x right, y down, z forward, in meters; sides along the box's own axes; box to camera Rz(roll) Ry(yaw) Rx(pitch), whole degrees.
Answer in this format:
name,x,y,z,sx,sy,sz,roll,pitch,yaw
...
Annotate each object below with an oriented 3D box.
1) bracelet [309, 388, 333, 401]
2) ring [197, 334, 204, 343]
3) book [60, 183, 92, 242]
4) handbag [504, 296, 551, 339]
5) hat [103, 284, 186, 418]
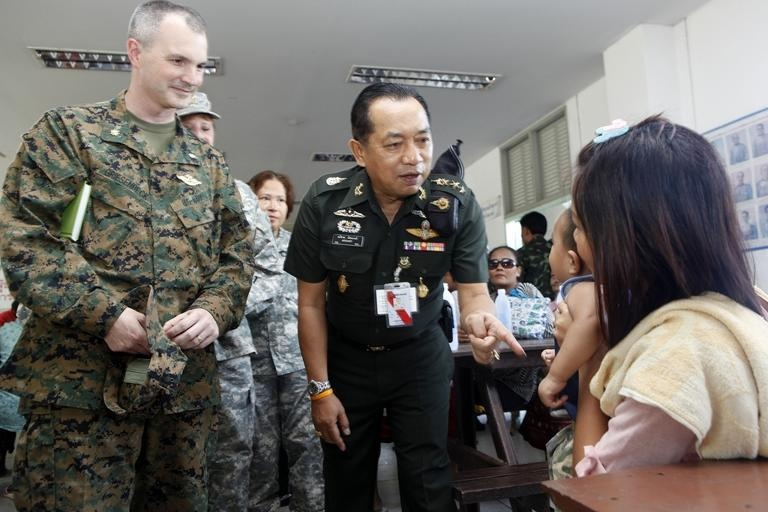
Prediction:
name,x,y,z,sx,sy,sz,roll,pitch,yaw
bracelet,-0.214,0.491,1.954,0.054,0.013,0.056,-17,-2,12
ring,-0.576,0.259,1.726,0.029,0.026,0.007,2,4,-29
book,-0.954,-0.138,1.707,0.101,0.185,0.049,-6,7,-32
handbag,0.831,0.344,3.066,0.265,0.269,0.099,1,-36,4
hat,-0.726,0.308,1.765,0.271,0.373,0.266,6,-14,-39
